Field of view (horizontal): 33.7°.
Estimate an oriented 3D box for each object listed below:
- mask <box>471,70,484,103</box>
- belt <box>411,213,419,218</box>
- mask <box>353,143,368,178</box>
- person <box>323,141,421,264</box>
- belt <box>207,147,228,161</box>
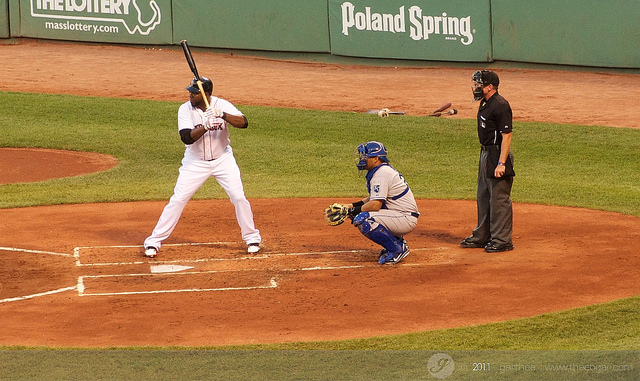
[{"bbox_3d":[3.951,-2.654,26.748,0.275,0.768,0.571,0,13,6],"label":"mask"},{"bbox_3d":[2.330,0.601,26.265,0.211,0.130,0.063,-11,16,-38],"label":"belt"},{"bbox_3d":[0.994,-0.786,26.303,0.324,0.845,0.460,-2,14,1],"label":"mask"},{"bbox_3d":[1.584,0.284,26.072,1.479,2.919,0.817,-1,14,2],"label":"person"},{"bbox_3d":[-2.607,-0.925,26.464,0.454,0.319,0.391,-2,0,-2],"label":"belt"}]
